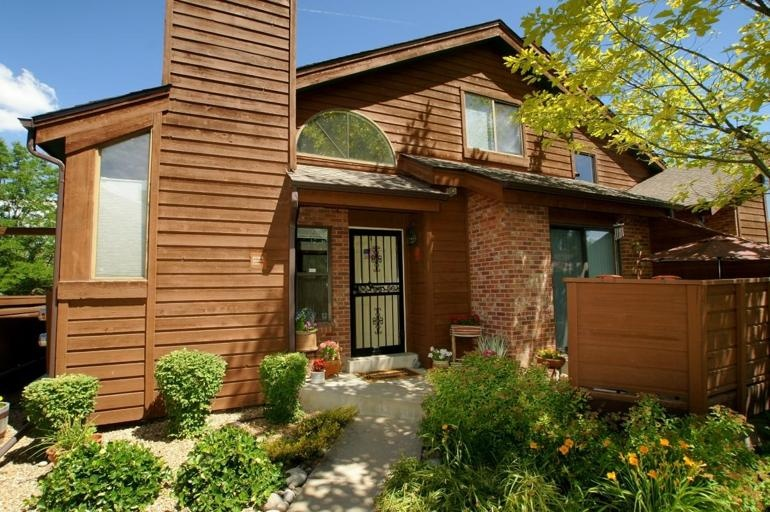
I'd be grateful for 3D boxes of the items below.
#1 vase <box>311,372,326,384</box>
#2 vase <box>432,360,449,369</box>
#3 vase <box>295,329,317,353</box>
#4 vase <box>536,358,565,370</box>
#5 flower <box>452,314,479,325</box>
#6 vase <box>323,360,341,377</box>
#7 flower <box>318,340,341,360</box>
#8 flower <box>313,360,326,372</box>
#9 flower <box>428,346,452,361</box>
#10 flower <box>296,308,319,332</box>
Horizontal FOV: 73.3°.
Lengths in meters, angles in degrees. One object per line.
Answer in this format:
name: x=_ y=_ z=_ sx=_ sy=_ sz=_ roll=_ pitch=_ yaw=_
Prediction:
vase: x=-1.348 y=2.466 z=10.420 sx=0.253 sy=0.148 sz=0.231 roll=1 pitch=-7 yaw=-13
vase: x=1.215 y=2.366 z=11.333 sx=0.374 sy=0.156 sz=0.274 roll=-1 pitch=-5 yaw=21
vase: x=-1.636 y=1.769 z=10.778 sx=0.504 sy=0.320 sz=0.487 roll=-3 pitch=-6 yaw=31
vase: x=3.580 y=2.284 z=10.994 sx=0.665 sy=0.226 sz=0.574 roll=0 pitch=-6 yaw=1
flower: x=1.854 y=1.457 z=11.909 sx=0.637 sy=0.216 sz=0.578 roll=1 pitch=-5 yaw=4
vase: x=-1.092 y=2.364 z=10.776 sx=0.311 sy=0.269 sz=0.364 roll=1 pitch=-8 yaw=-7
flower: x=-1.117 y=1.978 z=10.780 sx=0.417 sy=0.325 sz=0.419 roll=-10 pitch=-12 yaw=41
flower: x=-1.342 y=2.233 z=10.611 sx=0.233 sy=0.249 sz=0.288 roll=1 pitch=-5 yaw=1
flower: x=1.188 y=2.172 z=11.419 sx=0.370 sy=0.179 sz=0.329 roll=3 pitch=-3 yaw=-44
flower: x=-1.662 y=1.343 z=11.046 sx=0.464 sy=0.492 sz=0.535 roll=2 pitch=-6 yaw=-8
